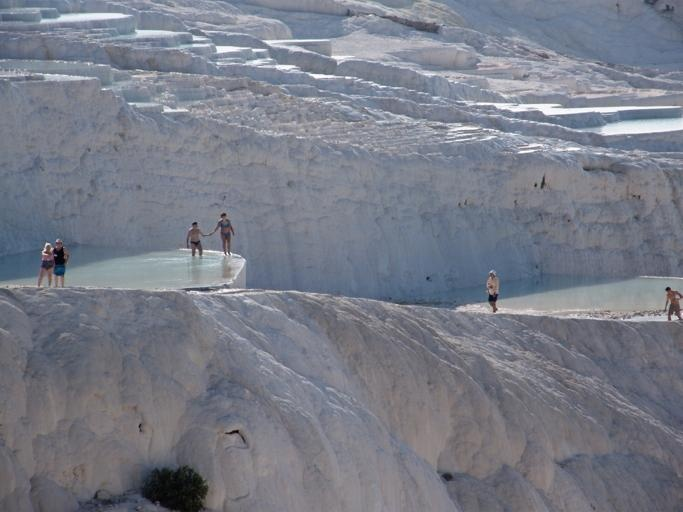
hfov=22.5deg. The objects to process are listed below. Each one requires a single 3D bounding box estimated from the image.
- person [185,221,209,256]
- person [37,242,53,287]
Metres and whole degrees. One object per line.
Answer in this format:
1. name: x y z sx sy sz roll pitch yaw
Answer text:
1. person: -5.556 -0.512 65.331 0.723 1.600 0.406 -4 24 -6
2. person: -10.677 0.320 61.630 0.558 1.573 3.086 0 4 -10
